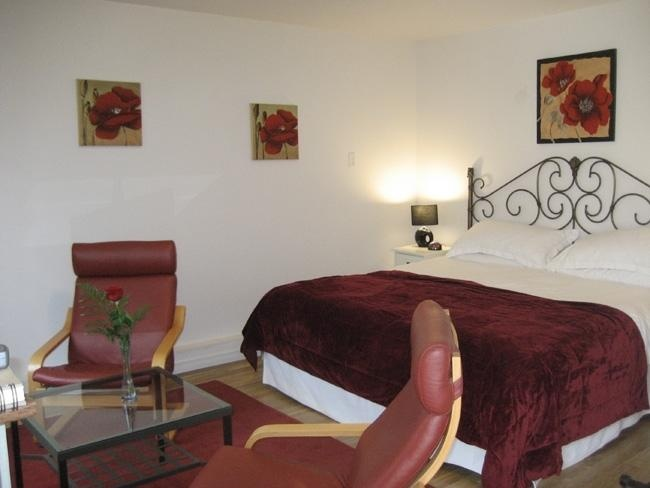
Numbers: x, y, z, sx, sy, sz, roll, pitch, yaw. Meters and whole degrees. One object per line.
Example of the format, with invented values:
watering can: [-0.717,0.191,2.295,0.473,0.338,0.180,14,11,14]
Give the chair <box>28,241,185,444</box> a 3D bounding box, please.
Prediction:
chair: [-1.364,0.599,3.621,1.084,1.548,1.222,0,4,-1]

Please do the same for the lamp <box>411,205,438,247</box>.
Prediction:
lamp: [1.069,-0.197,5.467,0.265,0.440,0.268,1,6,28]

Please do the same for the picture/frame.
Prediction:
picture/frame: [2.227,-1.297,4.431,0.032,0.933,0.842,-4,5,-43]
